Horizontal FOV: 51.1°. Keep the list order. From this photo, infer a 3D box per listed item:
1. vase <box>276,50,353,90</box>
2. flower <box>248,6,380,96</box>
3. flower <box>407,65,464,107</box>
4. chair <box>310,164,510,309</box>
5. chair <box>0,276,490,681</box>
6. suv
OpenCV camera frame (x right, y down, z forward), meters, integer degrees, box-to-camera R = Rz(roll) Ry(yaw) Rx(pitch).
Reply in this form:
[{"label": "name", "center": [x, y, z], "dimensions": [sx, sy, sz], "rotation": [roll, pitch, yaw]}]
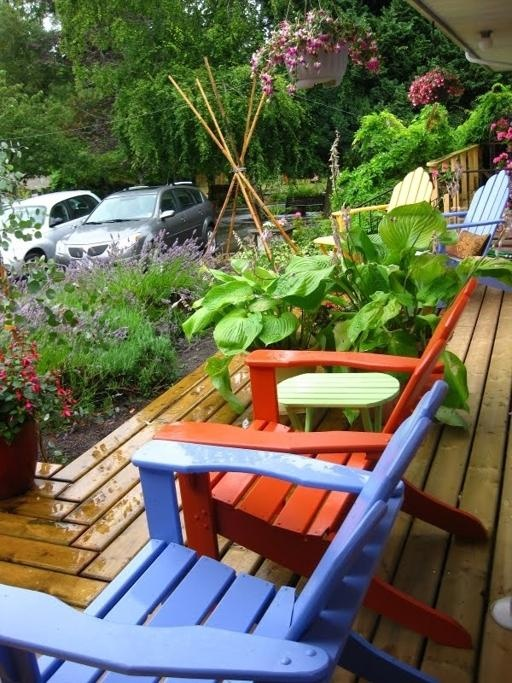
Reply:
[{"label": "vase", "center": [0.410, -1.741, 3.394], "dimensions": [0.318, 0.176, 0.296], "rotation": [-4, 9, 8]}, {"label": "flower", "center": [0.318, -1.921, 3.501], "dimensions": [0.629, 0.521, 0.899], "rotation": [-15, 22, -29]}, {"label": "flower", "center": [2.686, -3.826, 7.989], "dimensions": [0.684, 0.483, 0.772], "rotation": [9, 23, 34]}, {"label": "chair", "center": [1.317, -0.839, 4.723], "dimensions": [1.827, 1.140, 1.140], "rotation": [-5, 26, 5]}, {"label": "chair", "center": [-0.087, 0.296, 1.305], "dimensions": [1.094, 0.706, 0.865], "rotation": [5, 15, 17]}, {"label": "suv", "center": [-1.361, -1.587, 6.991], "dimensions": [1.363, 0.954, 2.547], "rotation": [0, 15, 31]}]
